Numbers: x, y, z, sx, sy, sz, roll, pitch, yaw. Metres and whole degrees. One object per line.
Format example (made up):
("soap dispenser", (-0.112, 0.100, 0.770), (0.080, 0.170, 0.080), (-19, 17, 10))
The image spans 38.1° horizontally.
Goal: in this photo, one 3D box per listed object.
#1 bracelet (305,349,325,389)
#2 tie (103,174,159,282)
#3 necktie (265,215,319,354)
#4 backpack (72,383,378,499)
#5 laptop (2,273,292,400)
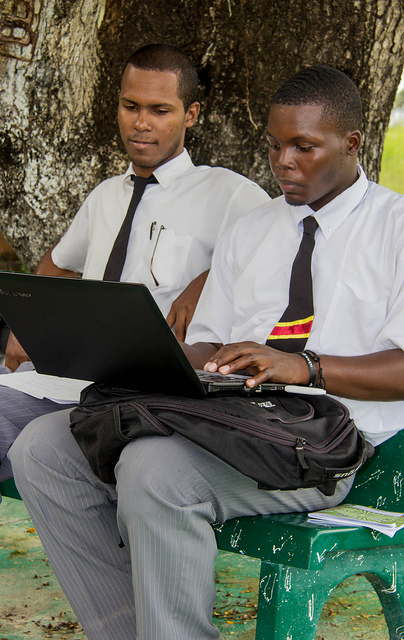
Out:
("bracelet", (0.307, 0.122, 1.537), (0.027, 0.080, 0.062), (-8, 16, -36))
("tie", (-0.299, -0.423, 2.503), (0.174, 0.582, 0.062), (18, -40, -2))
("necktie", (0.277, -0.093, 1.699), (0.170, 0.027, 0.550), (-9, -31, -1))
("backpack", (0.070, 0.288, 1.480), (0.727, 0.237, 0.560), (2, 1, 29))
("laptop", (-0.209, 0.030, 1.464), (0.508, 0.230, 0.420), (2, 8, 44))
